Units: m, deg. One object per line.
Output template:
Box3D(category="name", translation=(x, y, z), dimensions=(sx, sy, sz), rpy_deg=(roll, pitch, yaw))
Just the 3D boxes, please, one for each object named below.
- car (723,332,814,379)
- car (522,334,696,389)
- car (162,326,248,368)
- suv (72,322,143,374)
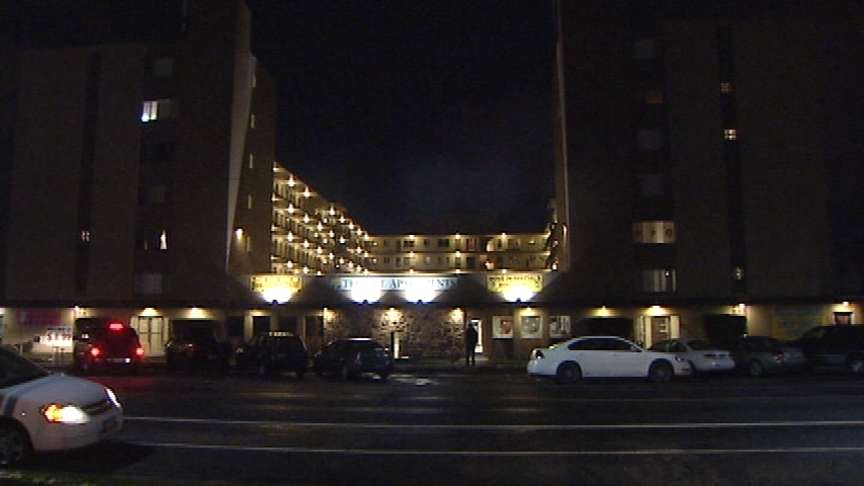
Box3D(category="car", translation=(22.989, 7.929, 65.062), dimensions=(4.577, 2.302, 1.757), rpy_deg=(0, 6, 11))
Box3D(category="car", translation=(11.709, 7.953, 63.192), dimensions=(9.752, 2.570, 3.866), rpy_deg=(-1, -7, 0))
Box3D(category="car", translation=(-17.354, 7.985, 69.864), dimensions=(4.616, 2.891, 1.395), rpy_deg=(0, 6, 8))
Box3D(category="suv", translation=(-23.305, 7.629, 67.630), dimensions=(3.584, 3.409, 7.233), rpy_deg=(0, -2, -17))
